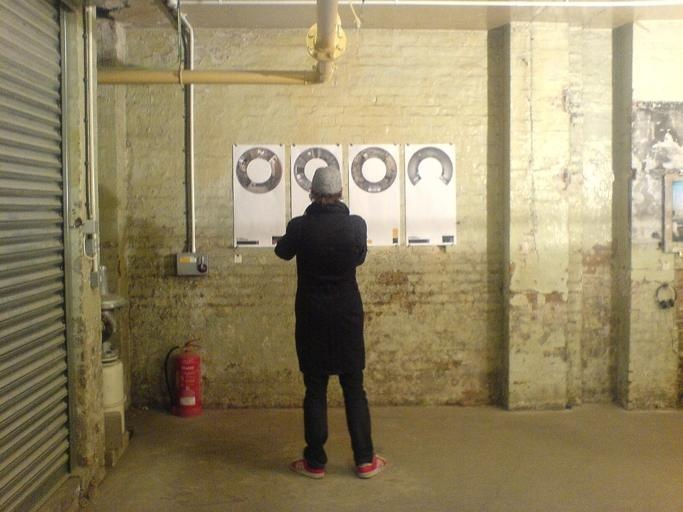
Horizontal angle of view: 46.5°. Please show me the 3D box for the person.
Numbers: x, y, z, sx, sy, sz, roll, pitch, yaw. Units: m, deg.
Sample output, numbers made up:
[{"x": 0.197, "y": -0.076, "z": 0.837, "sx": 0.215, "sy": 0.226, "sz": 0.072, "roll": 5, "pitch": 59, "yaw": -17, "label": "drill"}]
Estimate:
[{"x": -0.071, "y": 0.506, "z": 6.214, "sx": 0.801, "sy": 2.376, "sz": 0.255, "roll": 1, "pitch": 5, "yaw": 2, "label": "person"}]

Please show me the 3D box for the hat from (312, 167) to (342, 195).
[{"x": -0.118, "y": -0.577, "z": 6.156, "sx": 0.228, "sy": 0.213, "sz": 0.113, "roll": 1, "pitch": 6, "yaw": -3, "label": "hat"}]

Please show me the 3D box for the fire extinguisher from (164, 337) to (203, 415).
[{"x": -1.425, "y": 1.084, "z": 7.326, "sx": 0.336, "sy": 0.657, "sz": 0.382, "roll": 0, "pitch": 1, "yaw": -2, "label": "fire extinguisher"}]
